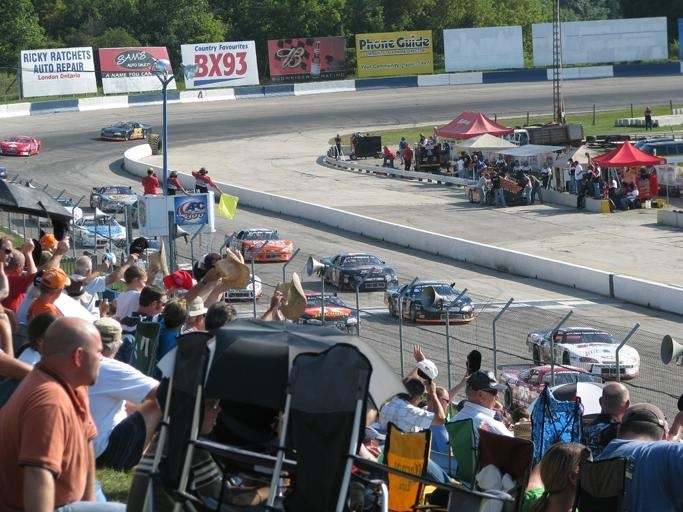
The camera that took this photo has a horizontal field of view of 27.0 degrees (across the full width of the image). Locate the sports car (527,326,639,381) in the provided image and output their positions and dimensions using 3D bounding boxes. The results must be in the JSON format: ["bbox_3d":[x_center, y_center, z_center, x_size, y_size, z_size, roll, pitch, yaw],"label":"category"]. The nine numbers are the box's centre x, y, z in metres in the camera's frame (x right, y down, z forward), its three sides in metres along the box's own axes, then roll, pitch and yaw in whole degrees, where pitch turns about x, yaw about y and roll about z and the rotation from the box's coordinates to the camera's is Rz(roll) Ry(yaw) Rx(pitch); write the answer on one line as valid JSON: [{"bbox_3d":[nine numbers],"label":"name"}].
[{"bbox_3d":[8.067,3.095,48.029,2.603,1.389,4.839,2,2,-16],"label":"sports car"}]

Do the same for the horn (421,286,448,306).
[{"bbox_3d":[2.832,1.243,44.341,0.595,0.701,0.940,4,-8,39],"label":"horn"}]

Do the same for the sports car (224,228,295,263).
[{"bbox_3d":[-3.293,-0.398,56.266,1.973,1.752,2.224,-5,11,-42],"label":"sports car"}]

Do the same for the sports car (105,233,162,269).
[{"bbox_3d":[-7.837,-0.105,51.769,1.866,1.701,1.636,-6,8,-22],"label":"sports car"}]

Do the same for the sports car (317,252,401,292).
[{"bbox_3d":[0.585,0.513,54.777,2.307,1.251,4.036,-2,8,-16],"label":"sports car"}]

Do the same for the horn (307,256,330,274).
[{"bbox_3d":[-0.683,0.294,40.530,0.597,0.561,0.524,3,0,-33],"label":"horn"}]

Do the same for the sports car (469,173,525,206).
[{"bbox_3d":[7.118,-2.919,66.599,1.718,1.535,1.879,-11,15,-21],"label":"sports car"}]

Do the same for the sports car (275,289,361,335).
[{"bbox_3d":[-0.686,1.963,50.103,2.096,1.398,3.791,0,1,-13],"label":"sports car"}]

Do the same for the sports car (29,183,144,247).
[{"bbox_3d":[-9.646,-1.489,53.894,2.840,2.358,2.908,-10,14,-25],"label":"sports car"}]

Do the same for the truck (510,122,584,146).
[{"bbox_3d":[10.650,-6.183,74.731,3.340,1.449,3.114,-3,19,21],"label":"truck"}]

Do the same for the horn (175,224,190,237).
[{"bbox_3d":[-5.102,-0.797,44.956,0.353,0.243,0.370,4,-3,-12],"label":"horn"}]
